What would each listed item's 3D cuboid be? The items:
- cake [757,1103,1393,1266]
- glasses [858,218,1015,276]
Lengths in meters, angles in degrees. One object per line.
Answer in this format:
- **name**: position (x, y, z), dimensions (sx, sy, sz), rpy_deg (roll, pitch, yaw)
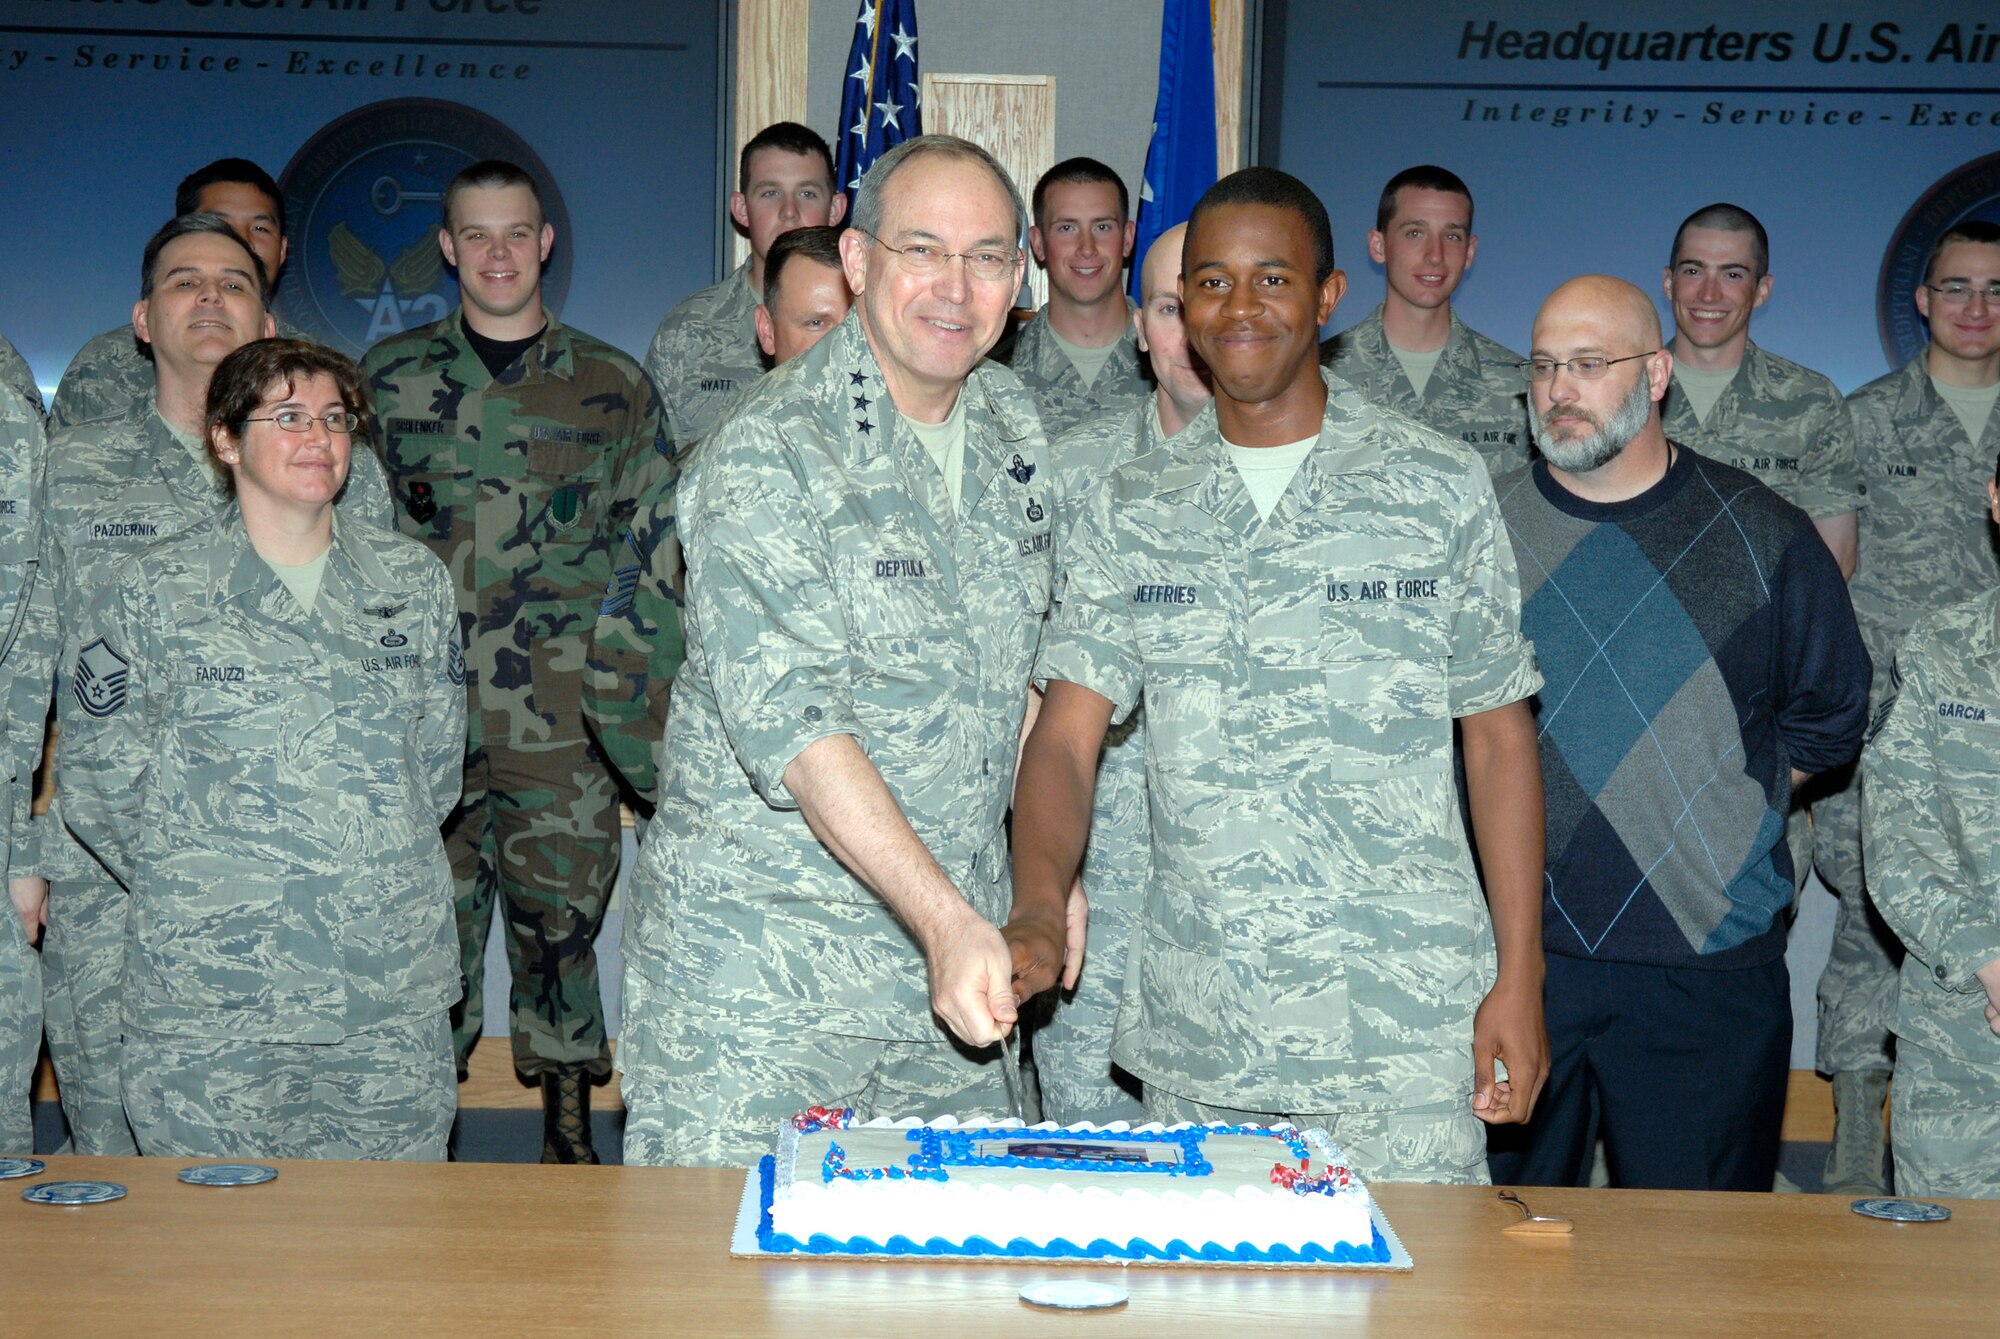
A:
- **cake**: position (0.110, 0.936, 3.163), dimensions (0.813, 0.094, 0.371), rpy_deg (2, 6, 0)
- **glasses**: position (-0.114, -0.809, 3.480), dimensions (0.274, 0.094, 0.057), rpy_deg (-1, -4, -2)
